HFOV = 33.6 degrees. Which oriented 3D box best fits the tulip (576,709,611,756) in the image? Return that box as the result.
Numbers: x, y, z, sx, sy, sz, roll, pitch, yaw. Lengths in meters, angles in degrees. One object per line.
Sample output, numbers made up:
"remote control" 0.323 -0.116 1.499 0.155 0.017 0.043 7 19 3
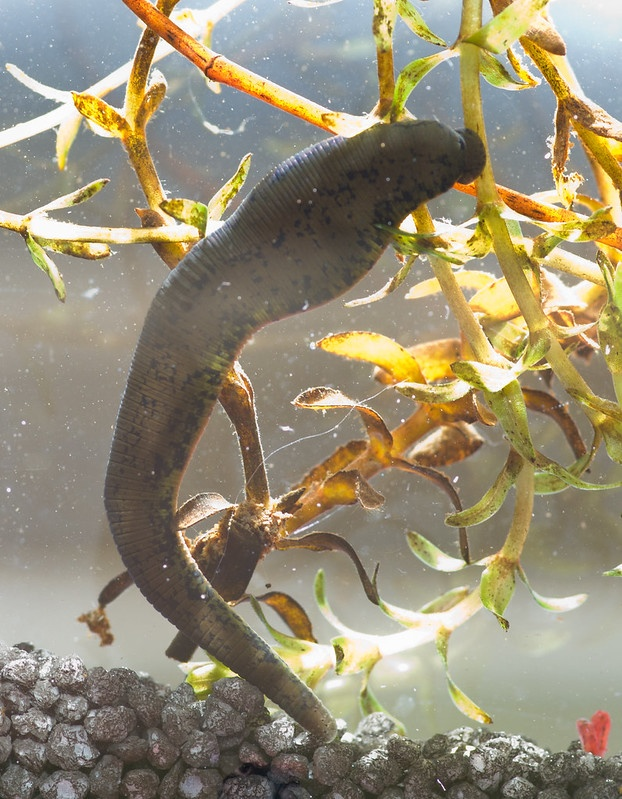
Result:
"tulip" 0.358 0.427 1.297 0.041 0.052 0.016 -11 -10 1
